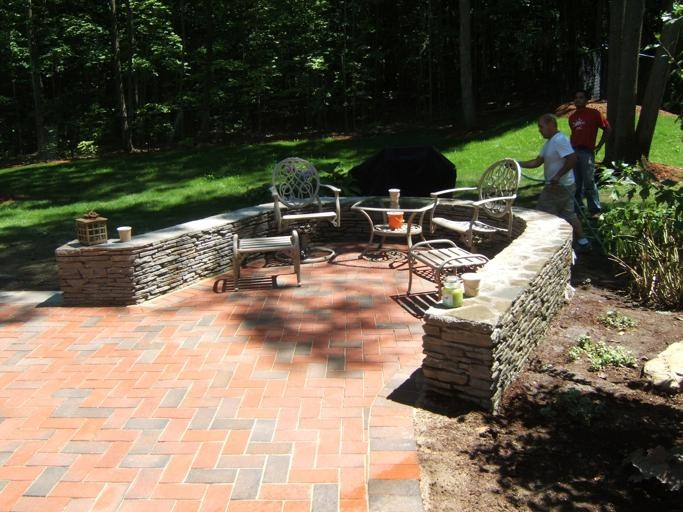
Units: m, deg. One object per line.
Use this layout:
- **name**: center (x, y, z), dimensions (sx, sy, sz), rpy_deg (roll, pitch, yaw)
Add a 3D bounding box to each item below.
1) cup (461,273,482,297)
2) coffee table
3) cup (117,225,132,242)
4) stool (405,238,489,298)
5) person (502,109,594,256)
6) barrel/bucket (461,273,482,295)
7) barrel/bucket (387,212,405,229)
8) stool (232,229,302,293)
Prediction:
- **cup**: center (1.069, 0.240, 4.537), dimensions (0.224, 0.151, 0.205), rpy_deg (-2, 14, 0)
- **coffee table**: center (0.792, -0.438, 7.940), dimensions (1.242, 0.631, 1.135), rpy_deg (7, 15, 30)
- **cup**: center (-2.553, -0.274, 6.292), dimensions (0.137, 0.161, 0.357), rpy_deg (-11, 17, -21)
- **stool**: center (1.145, 0.170, 6.032), dimensions (0.736, 0.411, 0.717), rpy_deg (-3, 18, -9)
- **person**: center (2.838, -0.957, 7.098), dimensions (0.895, 1.782, 0.527), rpy_deg (2, 21, 18)
- **barrel/bucket**: center (1.068, 0.238, 4.522), dimensions (0.223, 0.128, 0.180), rpy_deg (-1, 6, -1)
- **barrel/bucket**: center (0.746, -0.509, 7.554), dimensions (0.209, 0.245, 0.258), rpy_deg (-3, 17, 2)
- **stool**: center (-0.989, 0.006, 6.787), dimensions (0.847, 0.671, 0.661), rpy_deg (-6, 17, -9)
